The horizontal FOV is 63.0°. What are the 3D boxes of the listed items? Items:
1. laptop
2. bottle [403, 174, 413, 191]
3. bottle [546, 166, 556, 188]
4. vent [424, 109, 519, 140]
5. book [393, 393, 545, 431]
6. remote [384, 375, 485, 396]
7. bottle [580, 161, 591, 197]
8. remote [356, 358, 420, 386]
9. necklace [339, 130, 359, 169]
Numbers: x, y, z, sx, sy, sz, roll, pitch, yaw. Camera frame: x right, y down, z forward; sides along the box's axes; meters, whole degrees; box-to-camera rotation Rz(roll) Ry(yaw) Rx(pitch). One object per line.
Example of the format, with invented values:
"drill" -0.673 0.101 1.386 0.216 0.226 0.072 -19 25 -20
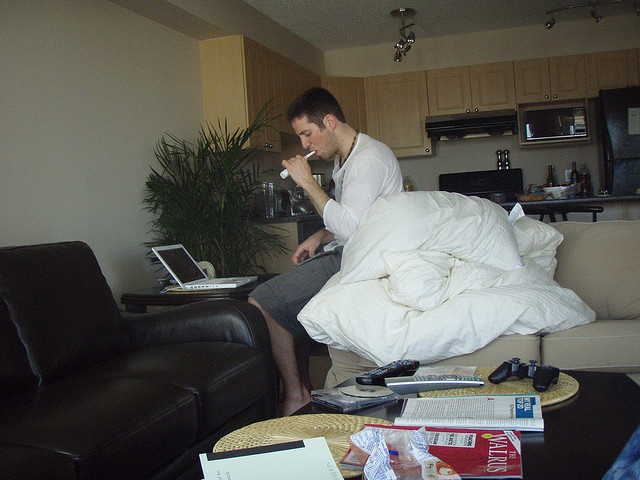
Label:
"laptop" -0.605 0.151 2.726 0.332 0.197 0.333 -9 1 9
"bottle" 0.943 -0.613 5.549 0.104 0.160 0.346 -7 8 11
"bottle" 2.344 -0.658 5.295 0.094 0.205 0.228 -5 9 25
"vent" 1.529 -1.168 5.288 0.901 0.293 0.361 -6 8 15
"book" 0.378 0.427 1.293 0.232 0.033 0.138 -3 7 14
"remote" 0.308 0.405 1.474 0.301 0.038 0.088 -7 3 6
"bottle" 2.630 -0.591 5.151 0.105 0.301 0.425 -4 9 27
"remote" 0.204 0.381 1.572 0.066 0.035 0.256 -1 4 33
"necklace" 0.152 -0.464 2.666 0.040 0.155 0.165 25 -20 9
